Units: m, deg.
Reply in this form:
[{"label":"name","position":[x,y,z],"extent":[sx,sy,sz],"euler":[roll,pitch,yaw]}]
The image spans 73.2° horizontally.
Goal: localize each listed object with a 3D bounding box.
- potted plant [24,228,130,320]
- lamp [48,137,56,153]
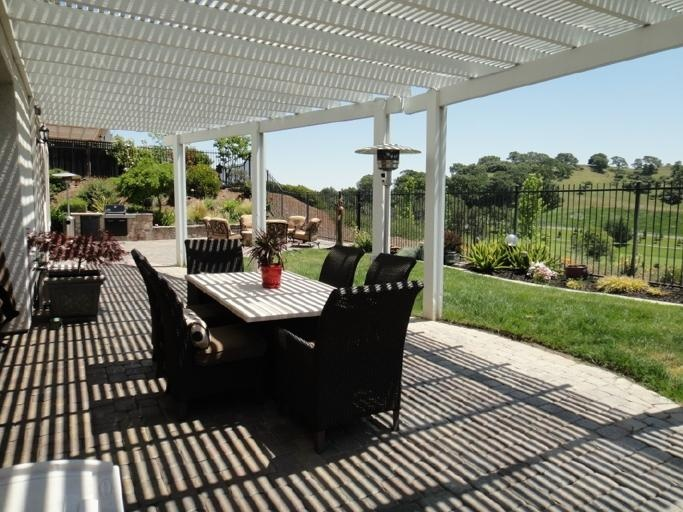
[{"label":"potted plant","position":[-3.600,0.223,6.242],"extent":[0.992,1.126,1.392],"euler":[-7,13,-34]},{"label":"lamp","position":[-13.087,-5.013,20.897],"extent":[0.273,0.580,1.327],"euler":[-6,12,-31]}]
